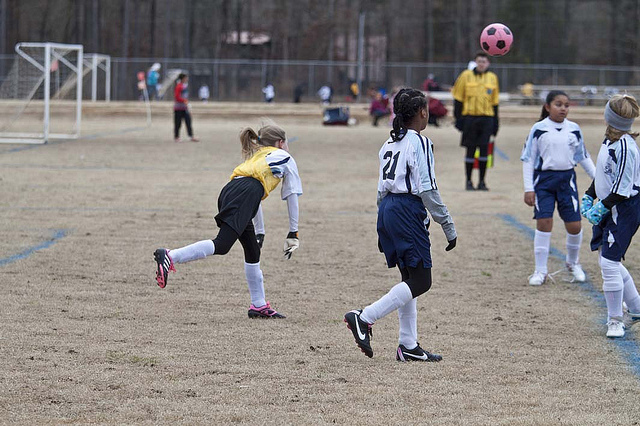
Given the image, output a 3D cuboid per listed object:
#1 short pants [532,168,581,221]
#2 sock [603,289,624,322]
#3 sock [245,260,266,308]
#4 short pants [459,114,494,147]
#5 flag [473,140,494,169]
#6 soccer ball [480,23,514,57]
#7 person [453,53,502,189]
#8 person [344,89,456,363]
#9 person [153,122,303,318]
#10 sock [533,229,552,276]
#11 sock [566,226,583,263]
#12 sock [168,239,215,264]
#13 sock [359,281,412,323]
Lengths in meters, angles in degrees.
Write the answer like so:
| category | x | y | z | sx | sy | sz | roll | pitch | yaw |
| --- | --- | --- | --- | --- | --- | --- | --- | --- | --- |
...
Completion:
| category | x | y | z | sx | sy | sz | roll | pitch | yaw |
| --- | --- | --- | --- | --- | --- | --- | --- | --- | --- |
| short pants | 2.999 | -0.296 | 16.558 | 0.590 | 0.778 | 0.362 | -2 | 17 | 3 |
| sock | 3.477 | 1.083 | 15.483 | 0.209 | 0.397 | 0.152 | 1 | 8 | 13 |
| sock | -0.800 | 0.856 | 15.902 | 0.241 | 0.562 | 0.161 | -1 | 7 | -6 |
| short pants | 2.528 | -1.409 | 20.940 | 0.535 | 0.679 | 0.355 | -5 | 52 | -4 |
| flag | 2.682 | -0.989 | 21.236 | 0.387 | 0.404 | 0.715 | -1 | -15 | 7 |
| soccer ball | 2.301 | -2.270 | 16.972 | 0.406 | 0.499 | 0.424 | 8 | -6 | 1 |
| person | 2.485 | -1.612 | 20.935 | 0.726 | 1.947 | 0.857 | 0 | 7 | 6 |
| person | 0.942 | 0.140 | 14.959 | 1.158 | 3.112 | 0.713 | 0 | 7 | 6 |
| person | -0.981 | 0.128 | 15.617 | 1.475 | 2.325 | 0.798 | -1 | 7 | -6 |
| sock | 2.858 | 0.481 | 16.855 | 0.188 | 0.608 | 0.459 | 1 | 8 | 8 |
| sock | 3.256 | 0.397 | 16.796 | 0.155 | 0.509 | 0.167 | 12 | 49 | 20 |
| sock | -1.577 | 0.477 | 15.950 | 0.535 | 0.189 | 0.154 | -17 | 37 | -7 |
| sock | 0.737 | 1.007 | 14.857 | 0.603 | 0.452 | 0.138 | 0 | 7 | 0 |
